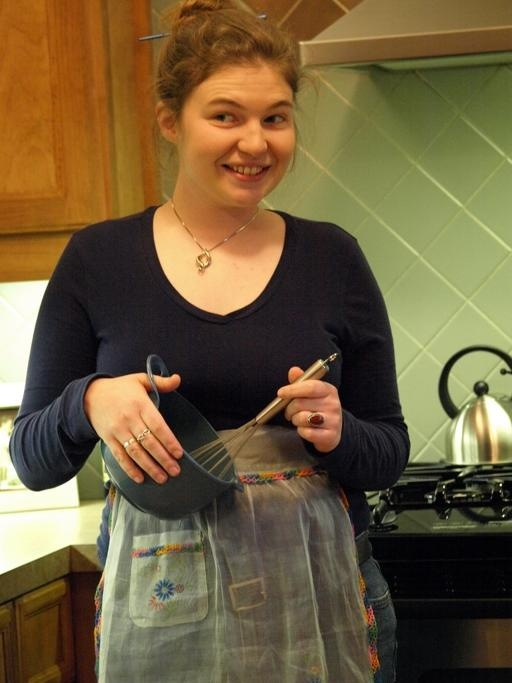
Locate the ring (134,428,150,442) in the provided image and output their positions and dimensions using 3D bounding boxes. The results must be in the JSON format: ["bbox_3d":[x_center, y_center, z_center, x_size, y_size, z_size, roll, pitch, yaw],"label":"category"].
[{"bbox_3d":[-0.095,0.078,0.526,0.011,0.006,0.012,-8,-39,-6],"label":"ring"}]

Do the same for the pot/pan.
[{"bbox_3d":[-0.079,0.089,0.603,0.126,0.159,0.185,-2,2,9],"label":"pot/pan"}]

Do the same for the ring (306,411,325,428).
[{"bbox_3d":[0.055,0.074,0.596,0.017,0.013,0.004,-2,15,-28],"label":"ring"}]

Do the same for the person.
[{"bbox_3d":[-0.029,0.027,0.695,0.413,0.822,0.294,-3,3,-32],"label":"person"}]

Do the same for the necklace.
[{"bbox_3d":[-0.057,-0.117,0.743,0.094,0.074,0.022,9,-22,1],"label":"necklace"}]

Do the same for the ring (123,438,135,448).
[{"bbox_3d":[-0.108,0.086,0.534,0.010,0.009,0.008,-2,2,-12],"label":"ring"}]
